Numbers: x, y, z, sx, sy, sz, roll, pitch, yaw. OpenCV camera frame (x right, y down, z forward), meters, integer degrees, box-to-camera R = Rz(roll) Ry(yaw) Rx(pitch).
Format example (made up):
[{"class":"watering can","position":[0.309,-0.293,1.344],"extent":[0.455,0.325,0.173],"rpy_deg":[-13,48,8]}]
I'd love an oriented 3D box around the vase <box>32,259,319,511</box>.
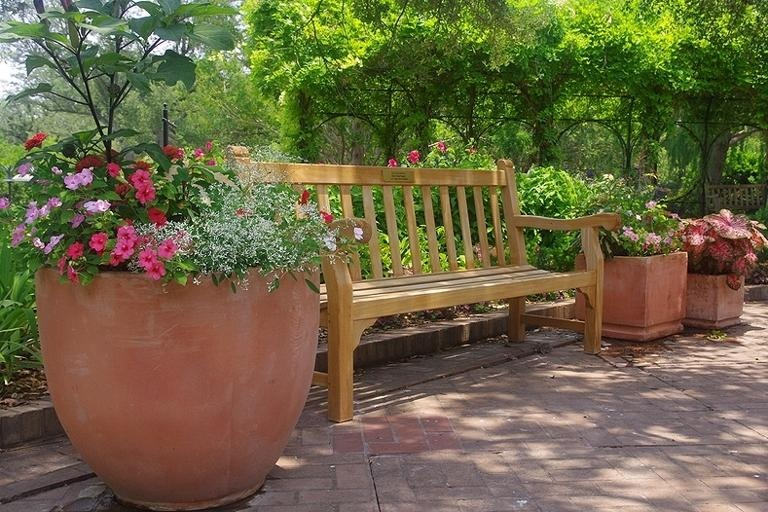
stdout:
[{"class":"vase","position":[-0.793,0.579,2.702],"extent":[1.085,0.797,1.074],"rpy_deg":[0,-9,6]}]

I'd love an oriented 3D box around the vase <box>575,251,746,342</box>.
[{"class":"vase","position":[2.367,0.268,5.285],"extent":[0.872,0.825,0.868],"rpy_deg":[-3,6,-36]}]

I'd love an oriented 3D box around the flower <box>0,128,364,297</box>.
[{"class":"flower","position":[-0.868,-0.231,2.478],"extent":[1.218,0.481,0.791],"rpy_deg":[19,28,4]}]
